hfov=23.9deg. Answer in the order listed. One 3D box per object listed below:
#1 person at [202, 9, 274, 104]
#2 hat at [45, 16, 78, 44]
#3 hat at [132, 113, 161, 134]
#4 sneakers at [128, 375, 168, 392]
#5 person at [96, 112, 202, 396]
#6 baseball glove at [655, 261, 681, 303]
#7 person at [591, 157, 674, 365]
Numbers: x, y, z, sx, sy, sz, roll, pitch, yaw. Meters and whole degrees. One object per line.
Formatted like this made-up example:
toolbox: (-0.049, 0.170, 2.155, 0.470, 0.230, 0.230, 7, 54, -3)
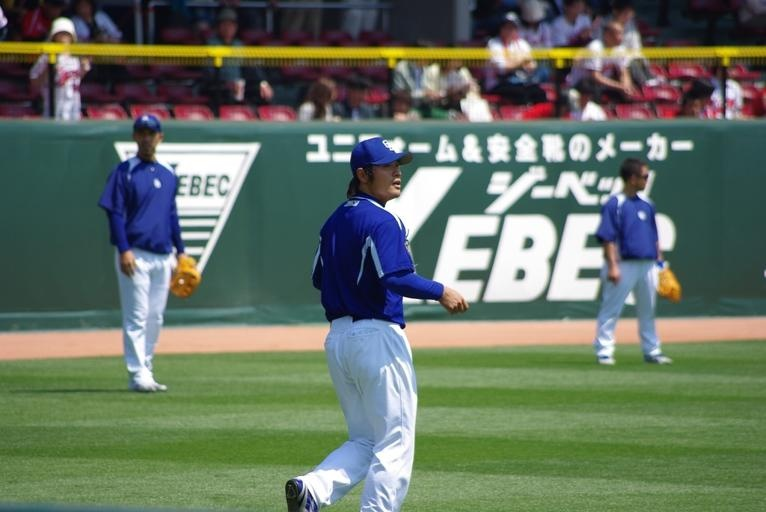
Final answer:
person: (-2.573, -3.292, 29.765, 1.392, 1.534, 0.344, 2, -2, -17)
hat: (-5.307, -3.740, 29.585, 0.376, 0.330, 0.572, 0, -3, -12)
hat: (-3.357, -1.876, 25.360, 0.331, 0.245, 0.270, 1, 12, 7)
sneakers: (-3.364, 1.749, 25.452, 0.408, 0.188, 0.246, 2, 2, -3)
person: (-3.386, -0.056, 25.372, 0.760, 3.793, 0.925, 10, 15, 41)
baseball glove: (4.383, 0.366, 27.801, 0.224, 0.578, 0.332, -34, 15, -11)
person: (3.681, 0.068, 26.757, 1.058, 2.984, 0.713, 1, 12, 4)
